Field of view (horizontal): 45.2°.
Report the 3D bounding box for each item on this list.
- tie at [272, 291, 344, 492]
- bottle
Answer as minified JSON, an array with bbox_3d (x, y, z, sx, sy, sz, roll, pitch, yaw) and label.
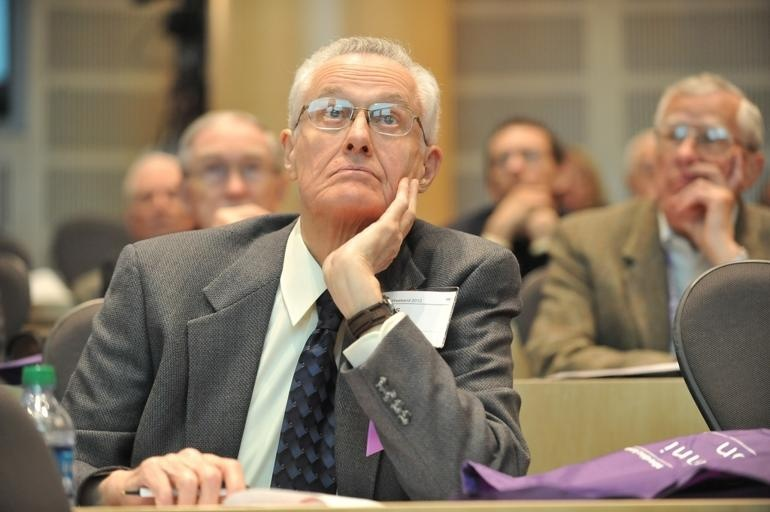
[{"bbox_3d":[-0.183,0.377,2.476,0.131,0.495,0.201,-1,-1,35],"label":"tie"},{"bbox_3d":[-0.783,0.429,2.168,0.119,0.360,0.607,0,-1,-19],"label":"bottle"}]
